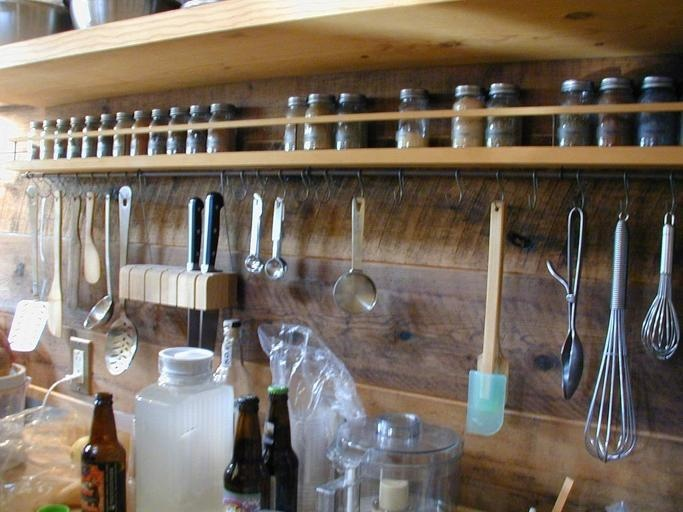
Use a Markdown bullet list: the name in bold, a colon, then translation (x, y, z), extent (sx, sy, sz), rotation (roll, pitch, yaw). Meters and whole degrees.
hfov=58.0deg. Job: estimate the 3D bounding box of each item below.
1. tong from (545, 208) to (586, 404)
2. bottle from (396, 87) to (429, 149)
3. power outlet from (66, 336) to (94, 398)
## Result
- **tong**: translation (0.409, 0.103, 1.118), extent (0.070, 0.363, 0.053), rotation (-6, 12, -10)
- **bottle**: translation (0.133, -0.264, 1.168), extent (0.063, 0.135, 0.159), rotation (0, 4, 8)
- **power outlet**: translation (-0.706, 0.301, 1.665), extent (0.103, 0.144, 0.019), rotation (5, 5, 36)
